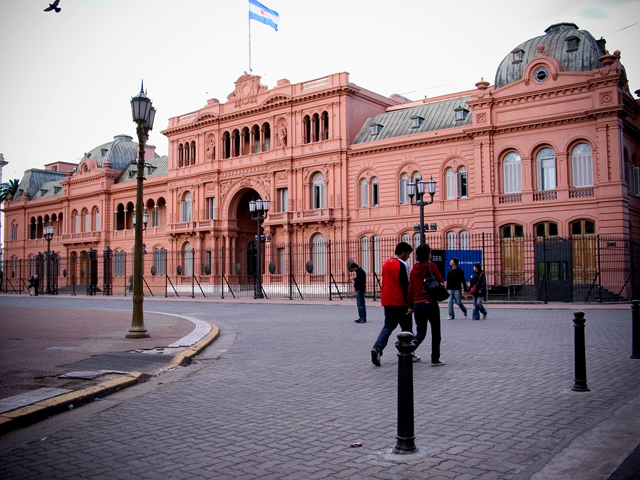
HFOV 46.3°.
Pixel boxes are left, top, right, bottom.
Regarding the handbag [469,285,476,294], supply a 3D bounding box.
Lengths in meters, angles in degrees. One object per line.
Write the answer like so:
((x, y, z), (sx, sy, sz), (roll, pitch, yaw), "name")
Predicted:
((4.855, 1.609, 23.978), (0.092, 0.259, 0.271), (24, -20, 2), "handbag")

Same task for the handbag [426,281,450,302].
((2.201, 0.999, 14.267), (0.410, 0.425, 0.289), (0, 4, 8), "handbag")

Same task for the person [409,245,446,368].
((2.068, 1.278, 14.334), (0.718, 2.324, 0.550), (0, 4, 8), "person")

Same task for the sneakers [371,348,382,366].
((1.089, 2.279, 14.480), (0.161, 0.334, 0.289), (0, 4, 7), "sneakers")

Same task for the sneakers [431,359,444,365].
((2.272, 2.389, 14.527), (0.283, 0.122, 0.094), (0, -1, -22), "sneakers")
